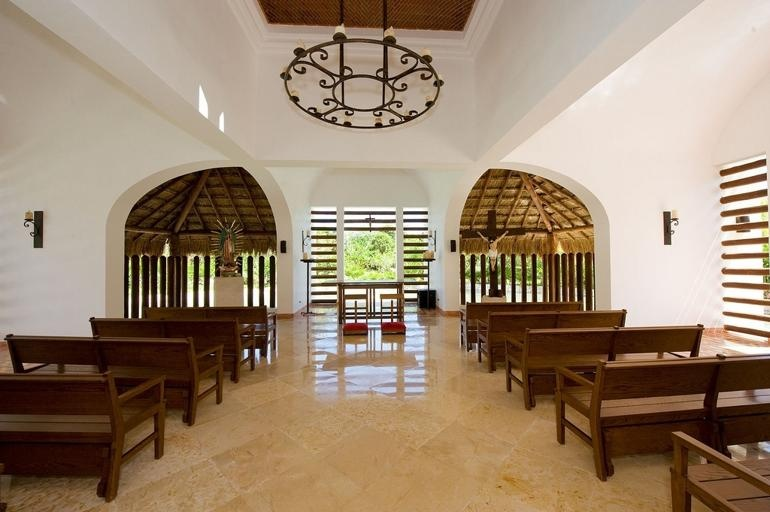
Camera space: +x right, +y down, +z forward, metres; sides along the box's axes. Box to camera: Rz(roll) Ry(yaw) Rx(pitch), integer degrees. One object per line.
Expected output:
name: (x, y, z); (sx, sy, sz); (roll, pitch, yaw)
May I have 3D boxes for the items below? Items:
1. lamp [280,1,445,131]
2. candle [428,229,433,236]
lamp: (-0.361, -2.751, 7.529); (2.244, 1.680, 2.930); (-1, -3, -4)
candle: (1.291, -0.652, 13.709); (0.144, 0.230, 0.148); (0, -4, 12)
